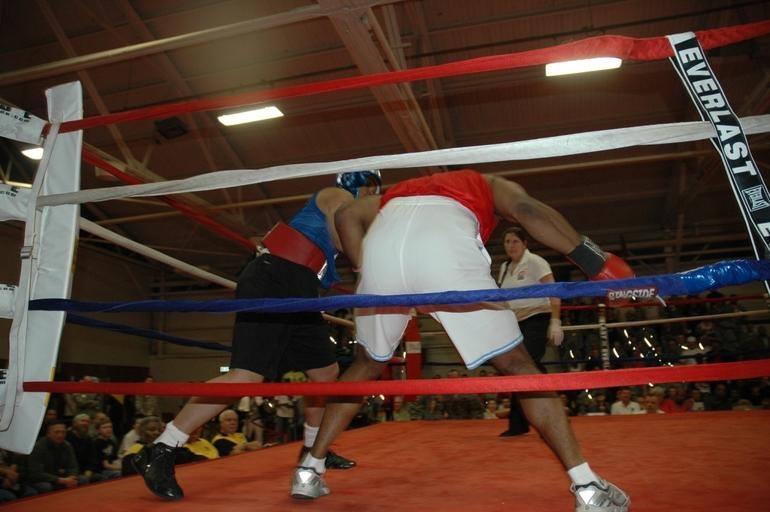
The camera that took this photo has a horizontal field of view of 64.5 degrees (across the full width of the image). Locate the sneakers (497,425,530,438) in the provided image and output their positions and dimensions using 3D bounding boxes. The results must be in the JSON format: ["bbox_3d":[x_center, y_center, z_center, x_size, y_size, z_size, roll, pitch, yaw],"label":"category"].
[{"bbox_3d":[1.039,1.418,4.890,0.294,0.115,0.077,7,-17,-17],"label":"sneakers"}]

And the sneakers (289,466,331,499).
[{"bbox_3d":[-0.414,1.286,3.450,0.176,0.090,0.266,1,-6,5],"label":"sneakers"}]

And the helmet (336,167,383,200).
[{"bbox_3d":[-0.126,-0.486,3.924,0.296,0.196,0.181,-18,-25,-15],"label":"helmet"}]
